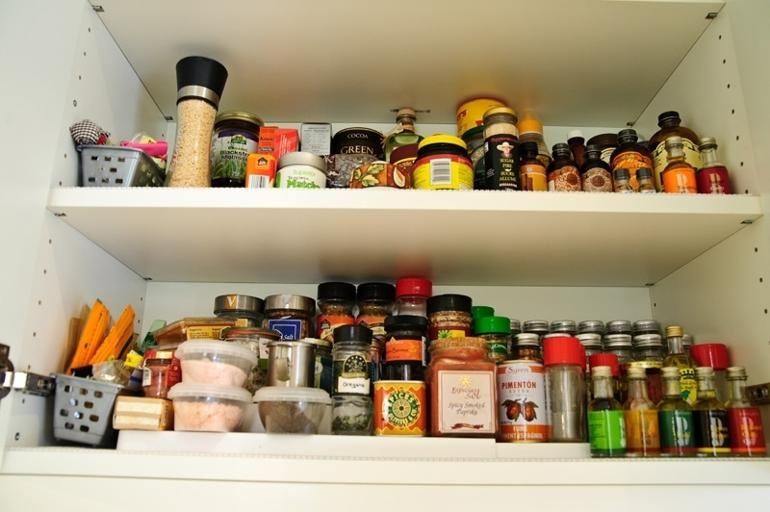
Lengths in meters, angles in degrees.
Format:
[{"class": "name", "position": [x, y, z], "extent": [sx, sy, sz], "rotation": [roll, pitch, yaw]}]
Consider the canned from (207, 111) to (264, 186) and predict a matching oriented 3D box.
[{"class": "canned", "position": [-0.377, -0.235, 1.405], "extent": [0.144, 0.215, 0.138], "rotation": [-2, -18, -1]}]

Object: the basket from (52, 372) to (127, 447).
[{"class": "basket", "position": [-0.620, 0.327, 1.227], "extent": [0.142, 0.130, 0.164], "rotation": [7, -10, 2]}]

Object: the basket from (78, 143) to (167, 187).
[{"class": "basket", "position": [-0.583, -0.189, 1.236], "extent": [0.093, 0.044, 0.127], "rotation": [0, -3, 10]}]

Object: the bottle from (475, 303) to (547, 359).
[{"class": "bottle", "position": [0.290, 0.182, 1.343], "extent": [0.118, 0.129, 0.139], "rotation": [2, -15, -2]}]

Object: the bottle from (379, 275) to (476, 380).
[{"class": "bottle", "position": [0.105, 0.117, 1.326], "extent": [0.194, 0.176, 0.102], "rotation": [-3, -12, 15]}]

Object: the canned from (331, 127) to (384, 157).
[{"class": "canned", "position": [-0.060, -0.284, 1.414], "extent": [0.096, 0.047, 0.094], "rotation": [5, -7, -29]}]

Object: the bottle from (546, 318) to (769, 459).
[{"class": "bottle", "position": [0.630, 0.284, 1.215], "extent": [0.313, 0.266, 0.136], "rotation": [-3, -19, 9]}]

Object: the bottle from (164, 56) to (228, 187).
[{"class": "bottle", "position": [-0.439, -0.306, 1.312], "extent": [0.111, 0.318, 0.089], "rotation": [8, -20, -21]}]

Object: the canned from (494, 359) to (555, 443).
[{"class": "canned", "position": [0.288, 0.307, 1.201], "extent": [0.092, 0.165, 0.042], "rotation": [1, -19, -2]}]
